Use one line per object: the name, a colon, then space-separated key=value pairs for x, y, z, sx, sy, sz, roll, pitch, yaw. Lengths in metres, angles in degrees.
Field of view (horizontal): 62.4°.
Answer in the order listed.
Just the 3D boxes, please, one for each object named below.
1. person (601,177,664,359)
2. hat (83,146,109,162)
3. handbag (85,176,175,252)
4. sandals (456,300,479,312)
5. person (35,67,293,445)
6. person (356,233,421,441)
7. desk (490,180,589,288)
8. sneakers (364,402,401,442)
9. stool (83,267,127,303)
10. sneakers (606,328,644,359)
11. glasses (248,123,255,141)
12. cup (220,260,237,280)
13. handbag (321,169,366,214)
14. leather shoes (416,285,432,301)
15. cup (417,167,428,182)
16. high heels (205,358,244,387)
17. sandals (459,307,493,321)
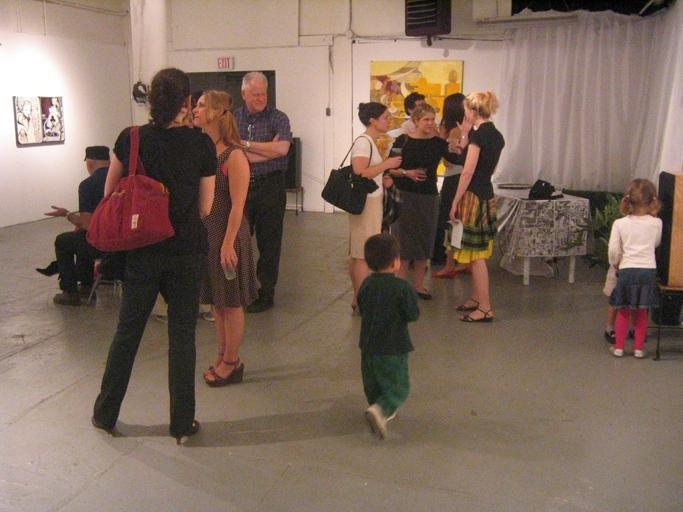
person: x=2.263 y=0.085 z=4.376 sx=0.365 sy=1.348 sz=0.489 roll=8 pitch=16 yaw=28
hat: x=-2.362 y=-1.019 z=5.531 sx=0.164 sy=0.119 sz=0.220 roll=-2 pitch=15 yaw=-15
handbag: x=-1.098 y=-0.227 z=2.934 sx=0.446 sy=0.388 sz=0.186 roll=4 pitch=15 yaw=13
sandals: x=1.188 y=0.470 z=5.282 sx=0.193 sy=0.060 sz=0.079 roll=-3 pitch=6 yaw=8
person: x=-1.017 y=0.045 z=3.093 sx=0.711 sy=2.067 sz=0.323 roll=-3 pitch=15 yaw=-13
person: x=0.274 y=0.451 z=3.320 sx=0.358 sy=1.074 sz=0.538 roll=1 pitch=15 yaw=2
desk: x=2.383 y=-0.212 z=6.705 sx=0.882 sy=0.921 sz=1.295 roll=0 pitch=6 yaw=10
sneakers: x=0.239 y=0.975 z=3.290 sx=0.065 sy=0.195 sz=0.119 roll=-28 pitch=7 yaw=37
stool: x=-2.218 y=0.192 z=5.432 sx=0.254 sy=0.425 sz=0.285 roll=11 pitch=10 yaw=-22
sneakers: x=2.262 y=0.713 z=4.555 sx=0.128 sy=0.168 sz=0.427 roll=0 pitch=18 yaw=18
glasses: x=-0.837 y=-1.167 z=5.276 sx=0.076 sy=0.144 sz=0.032 roll=0 pitch=2 yaw=4
cup: x=-0.714 y=0.099 z=3.631 sx=0.080 sy=0.096 sz=0.088 roll=-6 pitch=2 yaw=0
handbag: x=0.036 y=-0.545 z=4.714 sx=0.373 sy=0.408 sz=0.206 roll=0 pitch=14 yaw=1
leather shoes: x=0.832 y=0.379 z=5.761 sx=0.130 sy=0.099 sz=0.240 roll=-3 pitch=6 yaw=-16
cup: x=0.751 y=-0.754 z=5.225 sx=0.105 sy=0.110 sz=0.103 roll=-2 pitch=10 yaw=0
high heels: x=-0.802 y=0.804 z=3.895 sx=0.253 sy=0.182 sz=0.146 roll=3 pitch=7 yaw=-13
sandals: x=1.223 y=0.509 z=5.122 sx=0.235 sy=0.107 sz=0.136 roll=2 pitch=4 yaw=2
